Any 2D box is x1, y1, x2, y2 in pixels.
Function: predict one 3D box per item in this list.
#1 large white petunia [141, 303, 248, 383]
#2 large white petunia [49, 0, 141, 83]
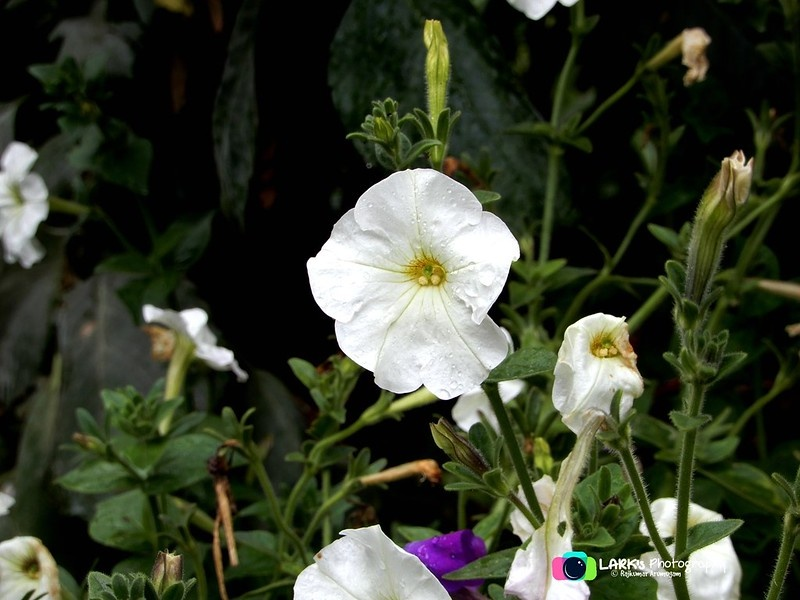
[{"bbox_3d":[-0.296,0.055,1.342,0.126,0.116,0.118,-11,17,-18],"label":"large white petunia"},{"bbox_3d":[-0.442,-0.377,1.372,0.130,0.110,0.082,-10,16,-13],"label":"large white petunia"}]
